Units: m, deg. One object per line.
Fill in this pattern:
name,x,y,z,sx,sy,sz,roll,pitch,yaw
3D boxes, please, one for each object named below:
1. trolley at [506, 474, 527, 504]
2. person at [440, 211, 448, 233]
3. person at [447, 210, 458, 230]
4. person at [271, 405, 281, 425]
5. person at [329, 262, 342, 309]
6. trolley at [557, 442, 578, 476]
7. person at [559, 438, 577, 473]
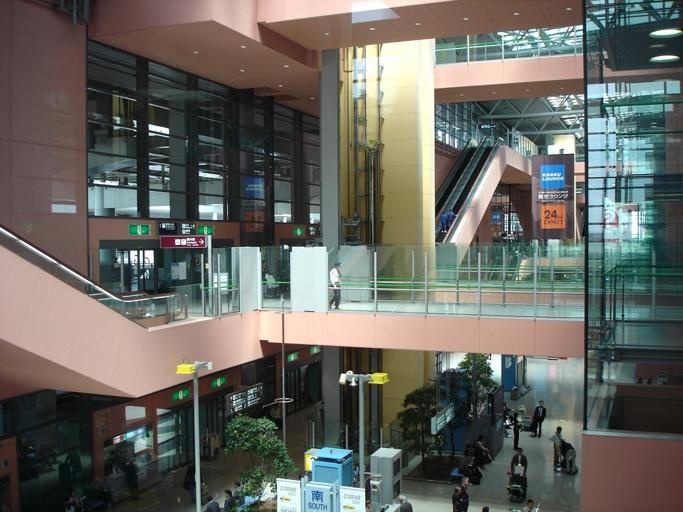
trolley,5.672,7.398,19.884,0.594,0.736,0.675,-2,-1,13
person,5.195,-1.668,31.120,0.493,1.136,0.984,-2,-1,11
person,5.672,-1.857,31.620,0.461,1.109,1.680,-2,-1,12
person,-2.870,7.071,27.219,0.350,0.842,0.765,-2,-1,17
person,-0.212,1.047,19.896,0.374,1.271,0.403,-1,-1,3
trolley,8.097,7.007,22.011,0.451,1.413,0.349,-4,-36,17
person,8.088,7.008,22.014,0.465,1.446,0.381,-3,-39,15
